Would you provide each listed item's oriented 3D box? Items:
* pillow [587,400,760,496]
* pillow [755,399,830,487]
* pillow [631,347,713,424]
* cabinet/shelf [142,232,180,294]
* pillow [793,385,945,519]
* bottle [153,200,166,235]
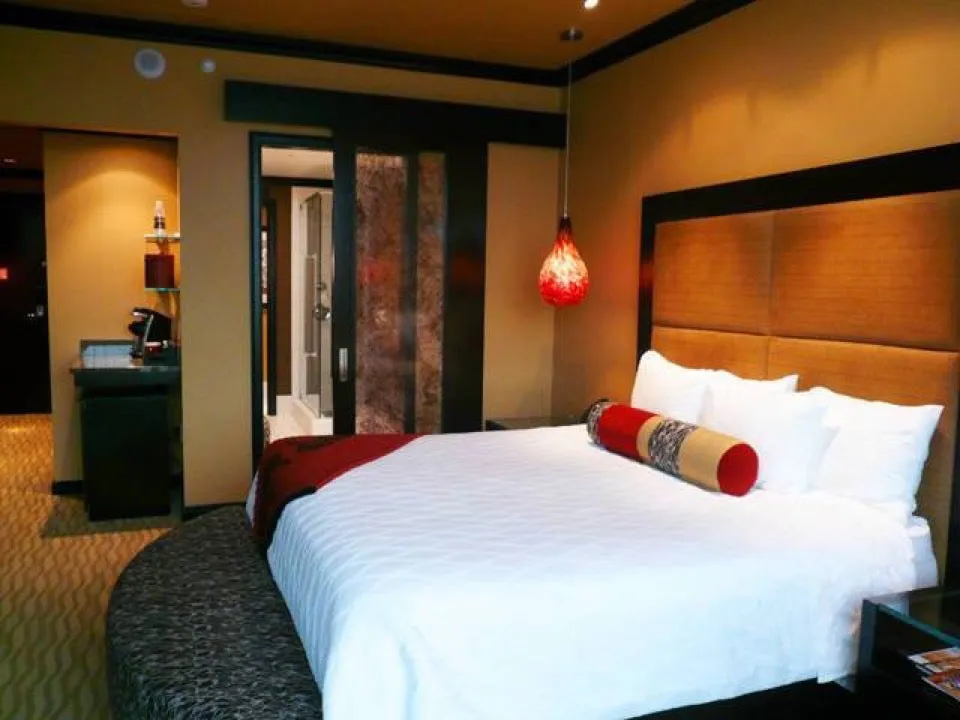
[{"bbox_3d":[0.891,0.382,3.449,0.252,0.276,0.952,-1,8,-22],"label":"pillow"},{"bbox_3d":[1.387,0.370,3.140,0.104,0.366,0.363,15,4,-23],"label":"pillow"},{"bbox_3d":[1.063,0.148,3.833,0.119,0.270,0.353,3,8,-21],"label":"pillow"},{"bbox_3d":[-2.362,-0.735,5.198,0.245,0.456,0.390,-4,10,-25],"label":"cabinet/shelf"},{"bbox_3d":[1.675,0.389,2.991,0.445,0.443,0.227,10,13,44],"label":"pillow"},{"bbox_3d":[-2.354,-1.056,5.156,0.086,0.251,0.224,-4,10,-24],"label":"bottle"}]
